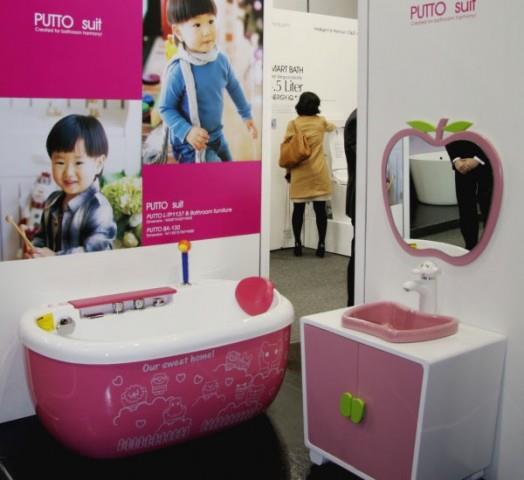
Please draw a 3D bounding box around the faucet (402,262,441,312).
[{"bbox_3d":[0.647,0.193,1.866,0.129,0.243,0.118,-8,15,-7],"label":"faucet"}]

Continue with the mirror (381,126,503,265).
[{"bbox_3d":[0.729,-0.182,1.834,0.022,0.571,0.456,-10,11,-40],"label":"mirror"}]

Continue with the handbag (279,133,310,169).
[{"bbox_3d":[0.351,-0.959,5.063,0.345,0.375,0.140,11,14,39],"label":"handbag"}]

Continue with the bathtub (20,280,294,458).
[{"bbox_3d":[-0.449,0.552,2.131,1.164,0.605,0.634,-7,14,-34],"label":"bathtub"}]

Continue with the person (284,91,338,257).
[{"bbox_3d":[0.490,-0.688,5.200,0.599,1.841,0.431,2,10,3],"label":"person"}]

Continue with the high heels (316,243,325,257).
[{"bbox_3d":[0.694,0.113,5.463,0.114,0.250,0.124,2,10,11],"label":"high heels"}]

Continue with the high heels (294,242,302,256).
[{"bbox_3d":[0.423,0.111,5.466,0.068,0.142,0.093,-13,24,-23],"label":"high heels"}]
